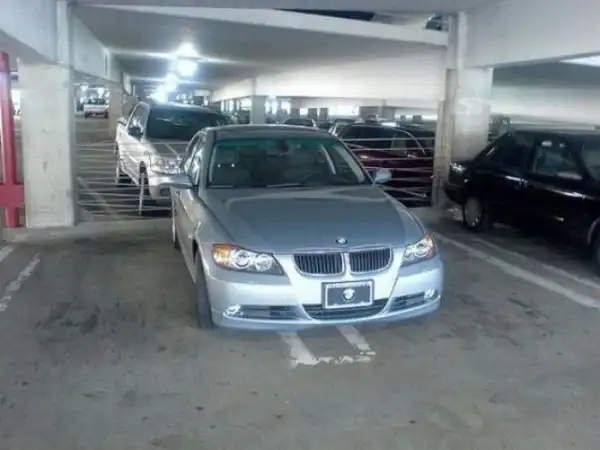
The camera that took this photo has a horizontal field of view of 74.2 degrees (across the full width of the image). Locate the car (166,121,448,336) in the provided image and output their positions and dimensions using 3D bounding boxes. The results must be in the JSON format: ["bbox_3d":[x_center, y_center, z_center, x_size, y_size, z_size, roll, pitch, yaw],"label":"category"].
[{"bbox_3d":[-0.310,-0.328,4.601,1.710,1.027,3.494,-3,15,-14],"label":"car"}]

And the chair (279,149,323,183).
[{"bbox_3d":[-0.012,-0.717,4.801,0.465,0.477,0.615,1,8,-2],"label":"chair"}]

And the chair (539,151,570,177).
[{"bbox_3d":[3.811,-0.927,5.976,0.428,0.325,0.290,13,20,39],"label":"chair"}]
